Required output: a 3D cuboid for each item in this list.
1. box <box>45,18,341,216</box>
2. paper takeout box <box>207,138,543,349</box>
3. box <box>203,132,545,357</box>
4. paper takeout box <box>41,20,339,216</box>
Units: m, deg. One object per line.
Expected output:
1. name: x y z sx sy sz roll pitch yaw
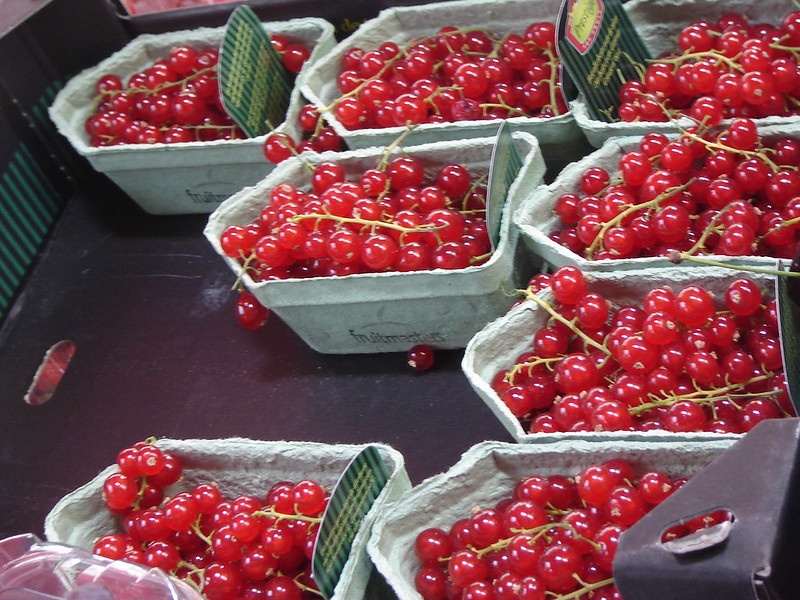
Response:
1. box: -0.626 -0.514 2.577 0.946 0.401 0.560 -7 62 24
2. paper takeout box: 0.086 -0.120 2.140 1.055 0.484 0.557 -9 56 21
3. box: 0.088 -0.148 2.178 1.067 0.495 0.568 -8 56 23
4. paper takeout box: -0.634 -0.515 2.584 0.938 0.399 0.560 -6 63 23
